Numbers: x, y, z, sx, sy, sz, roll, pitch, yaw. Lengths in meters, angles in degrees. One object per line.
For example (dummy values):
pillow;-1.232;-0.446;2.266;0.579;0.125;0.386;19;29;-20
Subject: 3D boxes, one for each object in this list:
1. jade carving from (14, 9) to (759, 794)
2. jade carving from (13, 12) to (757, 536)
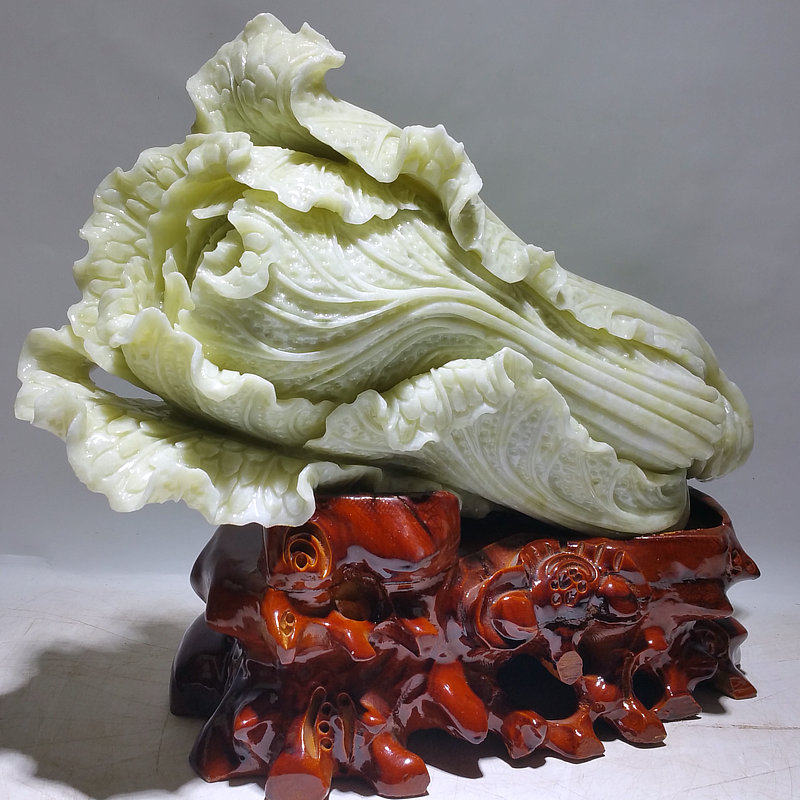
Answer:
jade carving;-0.001;-0.087;2.127;1.531;0.993;0.622;16;-45;-22
jade carving;-0.073;-0.109;2.145;1.532;0.904;0.637;14;-18;-7
